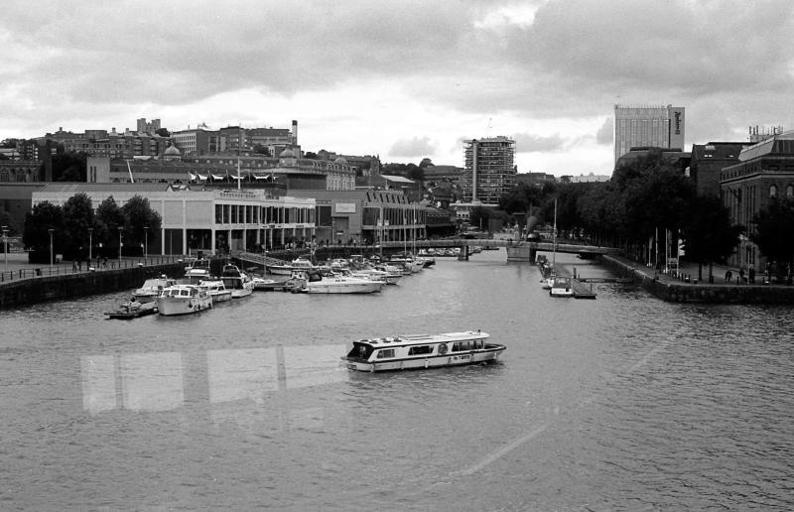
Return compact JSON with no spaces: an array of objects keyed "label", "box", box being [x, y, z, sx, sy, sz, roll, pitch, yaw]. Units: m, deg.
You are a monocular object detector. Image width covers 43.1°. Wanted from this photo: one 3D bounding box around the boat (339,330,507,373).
[{"label":"boat","box":[2.263,6.609,68.553,12.959,2.992,3.700,-4,11,-20]}]
